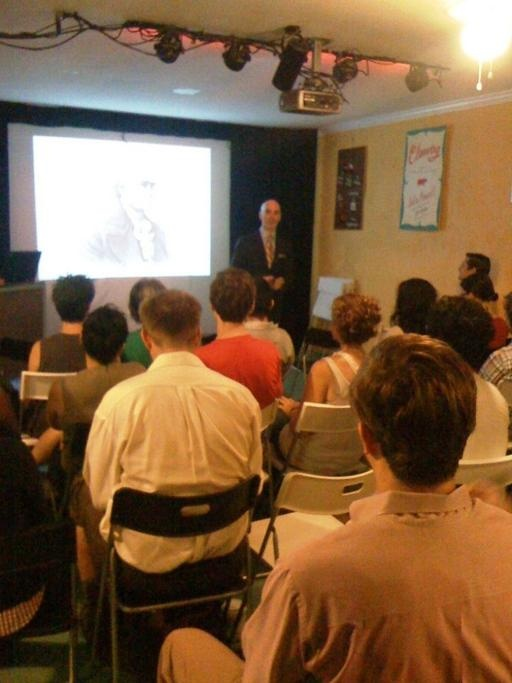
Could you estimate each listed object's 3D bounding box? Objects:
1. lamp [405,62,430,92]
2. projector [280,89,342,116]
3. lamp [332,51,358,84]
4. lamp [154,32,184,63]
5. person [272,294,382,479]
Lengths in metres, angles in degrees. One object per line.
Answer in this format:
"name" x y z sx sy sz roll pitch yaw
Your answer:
"lamp" 1.069 -1.792 3.805 0.116 0.164 0.169 6 -28 0
"projector" 0.343 -1.508 3.559 0.366 0.162 0.217 -13 11 -17
"lamp" 0.557 -1.728 3.552 0.150 0.144 0.143 -9 11 1
"lamp" -0.483 -1.622 3.138 0.114 0.139 0.151 -2 -24 -16
"person" 0.332 0.165 2.566 0.477 0.790 0.567 4 5 -6
